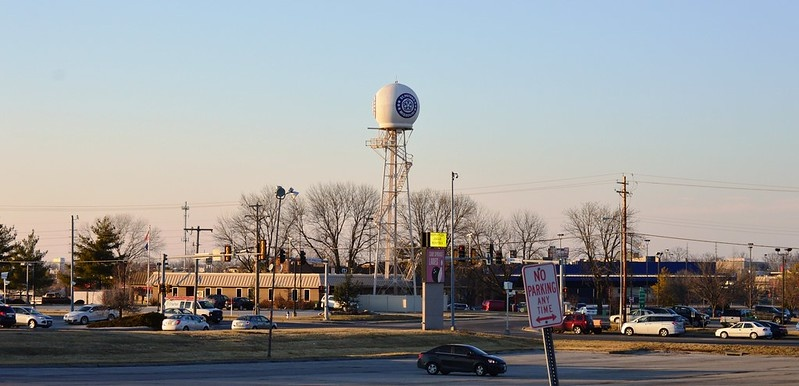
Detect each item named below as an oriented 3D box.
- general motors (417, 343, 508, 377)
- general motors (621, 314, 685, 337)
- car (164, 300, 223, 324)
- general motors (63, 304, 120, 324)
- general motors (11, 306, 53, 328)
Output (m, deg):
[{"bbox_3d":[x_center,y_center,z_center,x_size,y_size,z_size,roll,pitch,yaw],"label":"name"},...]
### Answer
[{"bbox_3d":[9.785,25.458,209.920,12.171,3.476,5.022,-2,-3,9],"label":"general motors"},{"bbox_3d":[43.063,22.450,233.940,9.575,2.526,3.927,2,-2,11],"label":"general motors"},{"bbox_3d":[-36.248,21.056,243.648,9.999,3.143,4.342,-1,0,8],"label":"car"},{"bbox_3d":[-53.321,21.041,238.719,9.185,2.373,3.757,1,-2,-16],"label":"general motors"},{"bbox_3d":[-61.936,20.838,231.925,6.694,3.760,3.061,-4,-10,19],"label":"general motors"}]
